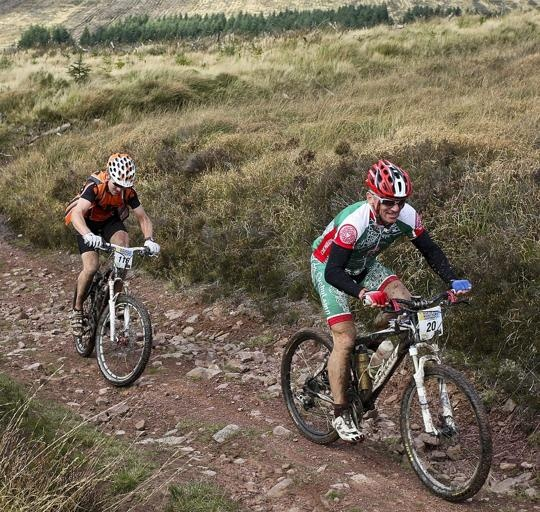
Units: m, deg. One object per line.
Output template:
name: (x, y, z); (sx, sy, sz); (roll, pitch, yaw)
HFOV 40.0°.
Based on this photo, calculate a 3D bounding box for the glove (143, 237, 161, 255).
glove: (-1.412, -0.125, 8.783); (0.087, 0.207, 0.154); (-40, -8, 5)

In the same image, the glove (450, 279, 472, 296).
glove: (1.727, 0.288, 6.771); (0.167, 0.150, 0.278); (4, 15, 11)

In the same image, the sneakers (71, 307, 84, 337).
sneakers: (-2.453, 0.837, 9.389); (0.132, 0.329, 0.097); (0, -6, -3)

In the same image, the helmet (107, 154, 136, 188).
helmet: (-1.777, -1.025, 8.698); (0.255, 0.177, 0.442); (1, 50, -30)

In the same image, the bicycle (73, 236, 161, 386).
bicycle: (-1.866, 0.619, 8.959); (0.810, 1.702, 1.729); (-5, 15, -24)

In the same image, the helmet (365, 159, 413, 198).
helmet: (1.121, -0.693, 6.877); (0.421, 0.301, 0.646); (-2, 12, -2)

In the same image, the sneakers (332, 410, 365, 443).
sneakers: (0.715, 1.615, 7.031); (0.154, 0.205, 0.396); (-13, 19, -21)

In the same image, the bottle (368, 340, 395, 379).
bottle: (1.102, 1.036, 7.346); (0.100, 0.438, 0.229); (32, 9, -10)
